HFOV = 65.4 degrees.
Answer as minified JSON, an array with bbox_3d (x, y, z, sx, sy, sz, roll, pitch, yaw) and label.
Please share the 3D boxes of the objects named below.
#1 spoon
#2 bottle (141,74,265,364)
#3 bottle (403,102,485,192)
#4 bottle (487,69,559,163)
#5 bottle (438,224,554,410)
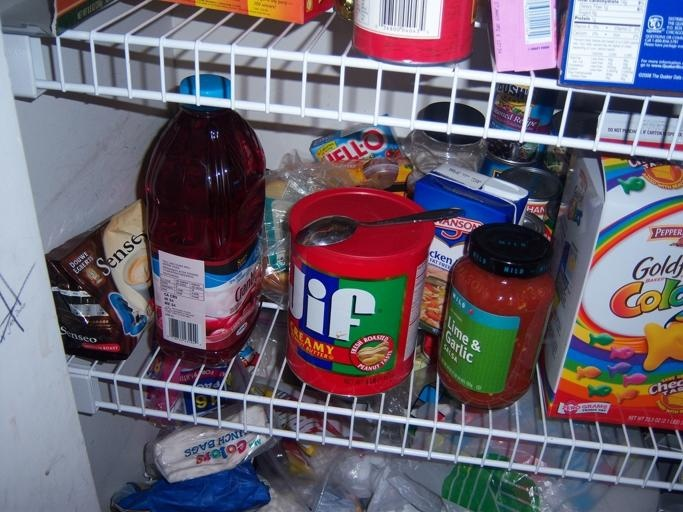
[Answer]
[{"bbox_3d":[0.046,-0.042,0.701,0.159,0.034,0.022,-11,-14,4],"label":"spoon"},{"bbox_3d":[-0.211,-0.070,0.795,0.198,0.404,0.239,-4,26,-11],"label":"bottle"},{"bbox_3d":[0.155,-0.206,0.946,0.176,0.180,0.128,8,21,13],"label":"bottle"},{"bbox_3d":[0.294,-0.242,0.862,0.093,0.147,0.093,-4,44,3],"label":"bottle"},{"bbox_3d":[0.208,0.087,0.726,0.134,0.256,0.088,13,28,22],"label":"bottle"}]
